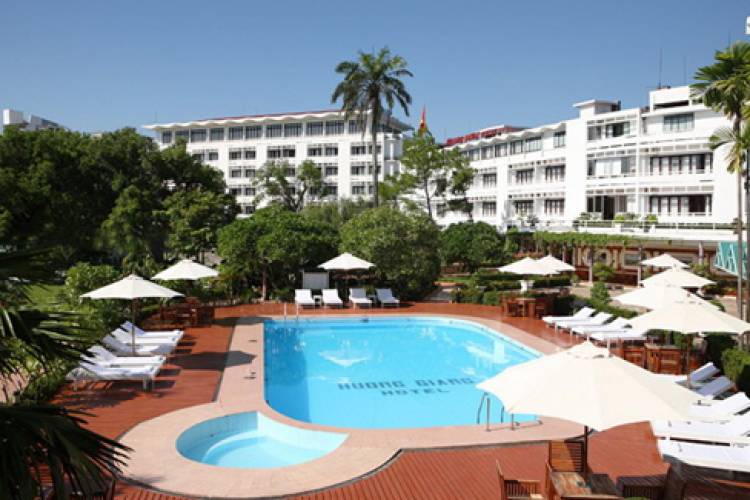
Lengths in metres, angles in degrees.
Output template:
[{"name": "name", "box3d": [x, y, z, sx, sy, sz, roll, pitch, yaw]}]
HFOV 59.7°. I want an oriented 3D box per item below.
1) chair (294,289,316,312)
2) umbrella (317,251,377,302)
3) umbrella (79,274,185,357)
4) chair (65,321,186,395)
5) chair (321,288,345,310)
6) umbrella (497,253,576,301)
[{"name": "chair", "box3d": [-3.924, 2.609, 35.666, 0.740, 0.862, 1.308, 0, 0, -10]}, {"name": "umbrella", "box3d": [-1.601, 0.856, 36.450, 2.987, 1.485, 4.284, 0, 2, -3]}, {"name": "umbrella", "box3d": [-9.224, 2.704, 25.306, 3.101, 3.314, 3.246, 6, 11, 26]}, {"name": "chair", "box3d": [-9.188, 3.836, 24.077, 2.822, 1.912, 4.142, 0, 2, -5]}, {"name": "chair", "box3d": [-2.475, 2.699, 36.166, 0.948, 0.994, 1.693, 0, 0, -7]}, {"name": "umbrella", "box3d": [7.984, 0.874, 33.995, 2.915, 1.312, 2.980, -1, 2, -12]}]
